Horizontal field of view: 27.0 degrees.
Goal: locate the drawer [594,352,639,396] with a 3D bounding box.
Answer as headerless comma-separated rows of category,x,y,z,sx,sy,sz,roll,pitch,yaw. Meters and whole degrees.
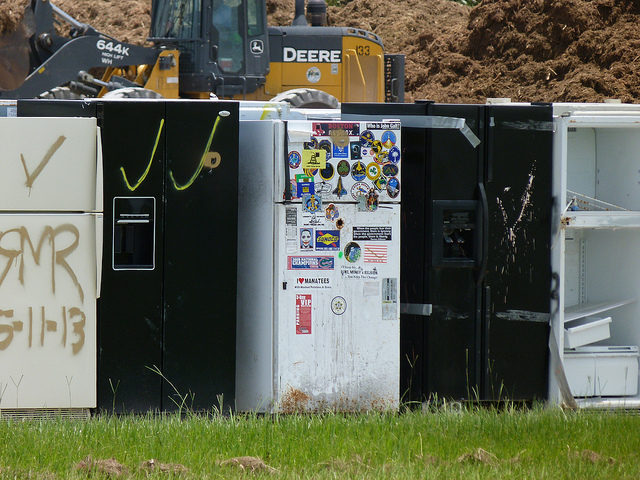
drawer,2.725,1.206,12.547,0.439,0.509,0.354,0,-3,-11
